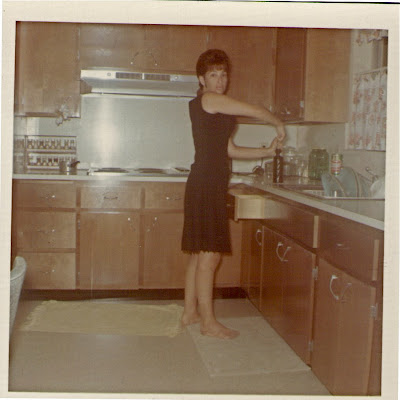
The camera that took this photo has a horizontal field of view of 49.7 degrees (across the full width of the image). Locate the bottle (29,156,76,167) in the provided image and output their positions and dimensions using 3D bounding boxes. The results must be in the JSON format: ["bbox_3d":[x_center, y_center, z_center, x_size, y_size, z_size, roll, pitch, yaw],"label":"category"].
[{"bbox_3d":[-0.708,-0.193,2.072,0.226,0.059,0.067,-8,14,-23],"label":"bottle"}]

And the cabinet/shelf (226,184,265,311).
[{"bbox_3d":[0.203,0.198,1.889,0.173,0.531,0.545,0,4,-4],"label":"cabinet/shelf"}]

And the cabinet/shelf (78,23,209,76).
[{"bbox_3d":[-0.260,-0.727,2.085,0.632,0.232,0.087,-7,14,-19],"label":"cabinet/shelf"}]

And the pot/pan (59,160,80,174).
[{"bbox_3d":[-0.635,-0.161,2.084,0.091,0.068,0.069,1,1,10],"label":"pot/pan"}]

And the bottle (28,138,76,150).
[{"bbox_3d":[-0.719,-0.273,2.097,0.226,0.075,0.038,-6,13,-14],"label":"bottle"}]

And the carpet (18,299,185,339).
[{"bbox_3d":[-0.423,0.520,1.962,0.708,0.072,0.382,-1,13,6],"label":"carpet"}]

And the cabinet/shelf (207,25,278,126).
[{"bbox_3d":[0.256,-0.768,2.615,0.485,0.715,0.388,0,10,2],"label":"cabinet/shelf"}]

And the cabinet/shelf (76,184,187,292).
[{"bbox_3d":[-0.343,0.163,2.051,0.513,0.496,0.203,0,3,-8],"label":"cabinet/shelf"}]

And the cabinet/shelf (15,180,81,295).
[{"bbox_3d":[-0.728,0.145,2.122,0.343,0.525,0.369,-4,15,-35],"label":"cabinet/shelf"}]

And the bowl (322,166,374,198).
[{"bbox_3d":[0.471,-0.072,1.437,0.108,0.051,0.150,0,8,3],"label":"bowl"}]

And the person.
[{"bbox_3d":[0.121,-0.003,1.718,0.426,1.168,0.418,0,13,12],"label":"person"}]

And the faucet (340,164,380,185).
[{"bbox_3d":[0.595,-0.101,1.656,0.158,0.088,0.095,5,5,-4],"label":"faucet"}]
